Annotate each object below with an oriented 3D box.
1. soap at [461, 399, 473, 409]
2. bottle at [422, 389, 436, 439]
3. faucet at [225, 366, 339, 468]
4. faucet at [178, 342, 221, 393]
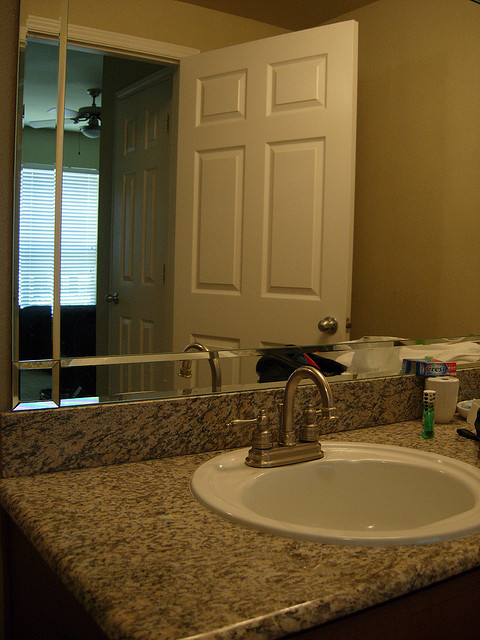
[{"bbox_3d":[0.598,0.222,1.409,0.021,0.009,0.022,-16,13,-34],"label":"soap"},{"bbox_3d":[0.428,0.215,1.215,0.024,0.096,0.069,1,1,22],"label":"bottle"},{"bbox_3d":[0.108,0.171,0.966,0.234,0.194,0.152,0,5,-36],"label":"faucet"},{"bbox_3d":[-0.085,0.100,1.125,0.089,0.102,0.046,0,1,-8],"label":"faucet"}]
